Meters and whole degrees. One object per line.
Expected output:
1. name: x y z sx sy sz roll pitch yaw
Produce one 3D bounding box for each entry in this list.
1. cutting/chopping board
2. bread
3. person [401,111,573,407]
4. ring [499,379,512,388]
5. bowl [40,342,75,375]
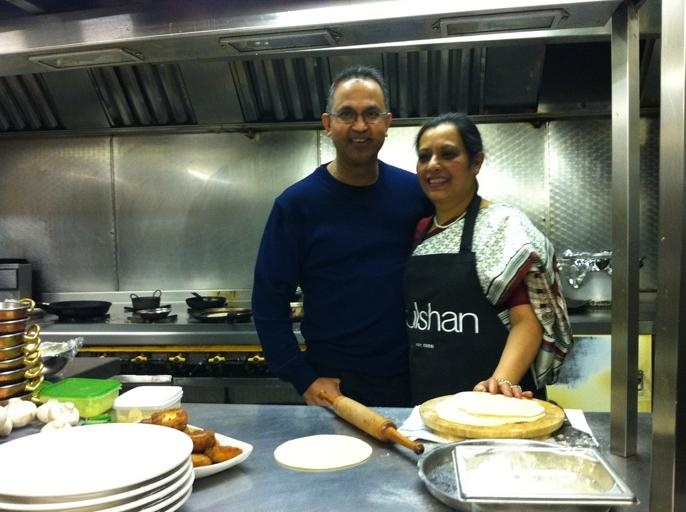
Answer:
1. cutting/chopping board: 0.414 0.434 1.547 0.401 0.068 0.366 -1 3 8
2. bread: -0.383 0.447 1.378 0.202 0.025 0.127 4 2 41
3. person: 0.485 0.007 1.982 0.406 1.072 0.630 -6 6 -31
4. ring: 0.485 0.375 1.630 0.025 0.011 0.037 14 4 -5
5. bowl: -0.943 0.337 1.816 0.106 0.059 0.099 0 3 0
